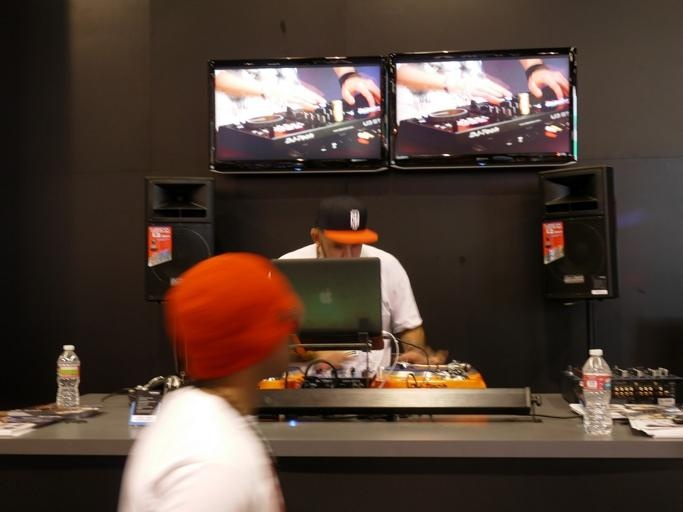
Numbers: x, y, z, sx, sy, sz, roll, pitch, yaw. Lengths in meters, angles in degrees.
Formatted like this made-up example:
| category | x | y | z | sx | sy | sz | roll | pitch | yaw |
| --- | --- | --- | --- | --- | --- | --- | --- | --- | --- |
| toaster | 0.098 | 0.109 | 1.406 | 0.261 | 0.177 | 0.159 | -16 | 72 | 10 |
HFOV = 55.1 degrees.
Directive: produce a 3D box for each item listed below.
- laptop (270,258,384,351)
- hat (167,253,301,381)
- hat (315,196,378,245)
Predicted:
| category | x | y | z | sx | sy | sz | roll | pitch | yaw |
| --- | --- | --- | --- | --- | --- | --- | --- | --- | --- |
| laptop | -0.004 | 0.200 | 3.350 | 0.584 | 0.413 | 0.419 | -1 | -2 | 8 |
| hat | -0.333 | 0.157 | 2.183 | 0.439 | 0.349 | 0.317 | -20 | 35 | -33 |
| hat | 0.028 | -0.225 | 3.964 | 0.247 | 0.174 | 0.341 | -4 | 13 | -32 |
